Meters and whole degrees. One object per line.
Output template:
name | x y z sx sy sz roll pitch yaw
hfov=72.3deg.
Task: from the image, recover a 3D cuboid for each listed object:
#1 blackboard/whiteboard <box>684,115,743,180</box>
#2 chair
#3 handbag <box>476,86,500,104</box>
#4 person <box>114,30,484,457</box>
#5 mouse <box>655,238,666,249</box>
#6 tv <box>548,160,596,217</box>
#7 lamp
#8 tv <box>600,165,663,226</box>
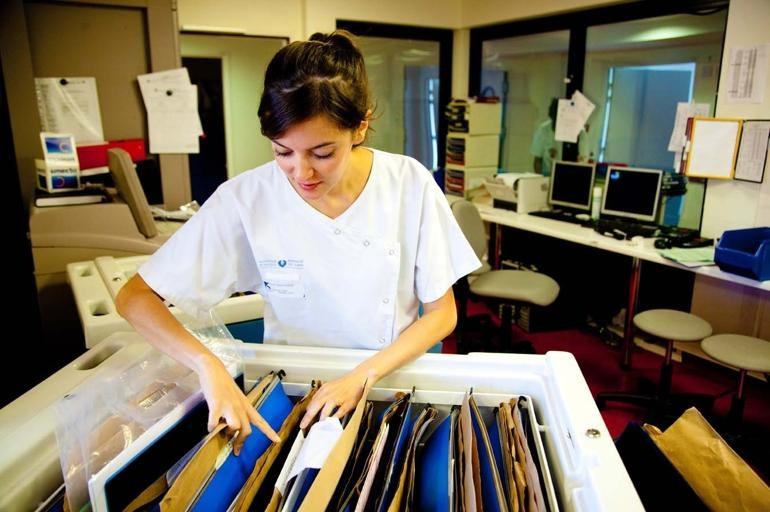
blackboard/whiteboard | 2.052 -0.677 3.248 0.355 0.434 0.043 15 21 42
chair | 0.834 0.232 3.542 0.720 1.125 0.656 10 17 31
handbag | 0.953 -1.471 4.816 0.175 0.097 0.287 0 21 9
person | -0.207 -0.130 1.424 0.878 0.900 0.615 -13 21 -39
mouse | 1.655 -0.076 3.145 0.047 0.081 0.082 10 8 29
tv | 1.424 -0.506 3.955 0.037 0.377 0.371 -11 23 -38
lamp | 1.635 0.616 2.907 0.724 0.551 0.526 13 21 38
tv | 1.704 -0.410 3.587 0.049 0.359 0.356 -10 23 -43
